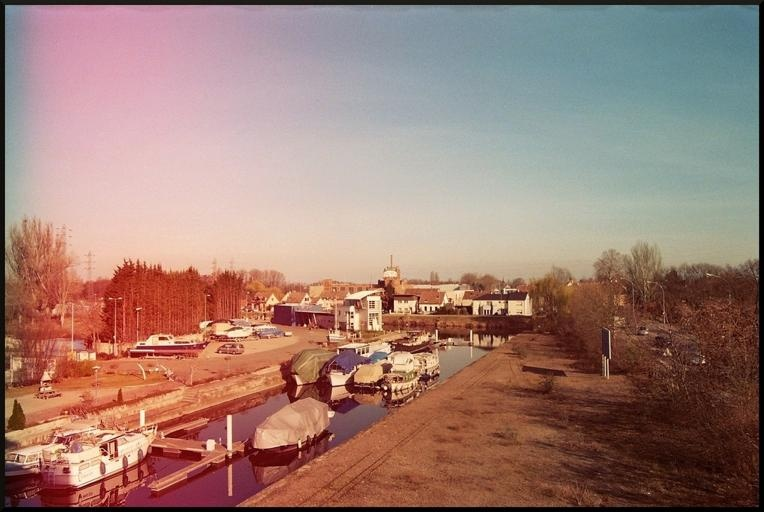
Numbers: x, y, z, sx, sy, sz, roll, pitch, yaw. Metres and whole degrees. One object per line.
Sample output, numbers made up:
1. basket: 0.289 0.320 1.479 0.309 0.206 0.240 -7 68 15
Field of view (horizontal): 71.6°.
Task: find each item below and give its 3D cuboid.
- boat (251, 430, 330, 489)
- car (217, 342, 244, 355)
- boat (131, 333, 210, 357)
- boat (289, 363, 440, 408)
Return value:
1. boat: -5.850 12.376 33.272 2.429 0.978 5.833 2 7 42
2. car: -16.343 9.969 57.409 1.971 0.951 1.259 3 -6 6
3. boat: -21.619 9.729 54.766 7.472 2.644 2.742 1 0 -18
4. boat: -1.074 11.052 47.907 11.557 2.868 7.568 -3 5 5
